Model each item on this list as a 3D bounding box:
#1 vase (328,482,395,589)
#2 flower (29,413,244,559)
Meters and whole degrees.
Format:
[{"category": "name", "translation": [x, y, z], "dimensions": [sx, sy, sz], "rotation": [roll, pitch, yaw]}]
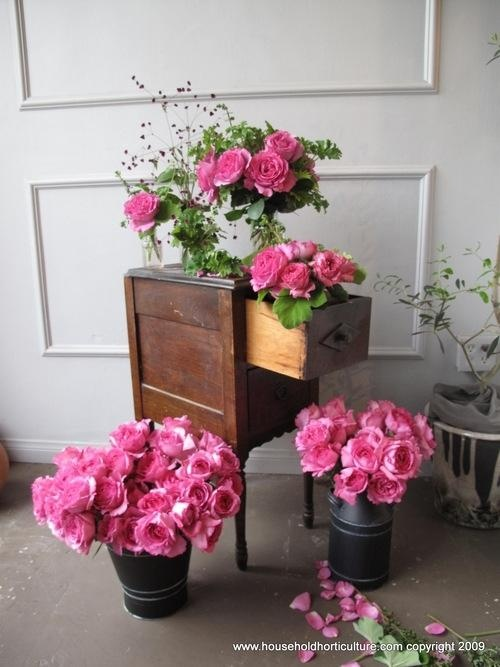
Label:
[{"category": "vase", "translation": [0.293, 0.518, 1.450], "dimensions": [0.174, 0.248, 0.160], "rotation": [-3, 6, -34]}, {"category": "flower", "translation": [-0.238, 0.360, 1.246], "dimensions": [0.353, 0.162, 0.367], "rotation": [4, 19, 5]}]
